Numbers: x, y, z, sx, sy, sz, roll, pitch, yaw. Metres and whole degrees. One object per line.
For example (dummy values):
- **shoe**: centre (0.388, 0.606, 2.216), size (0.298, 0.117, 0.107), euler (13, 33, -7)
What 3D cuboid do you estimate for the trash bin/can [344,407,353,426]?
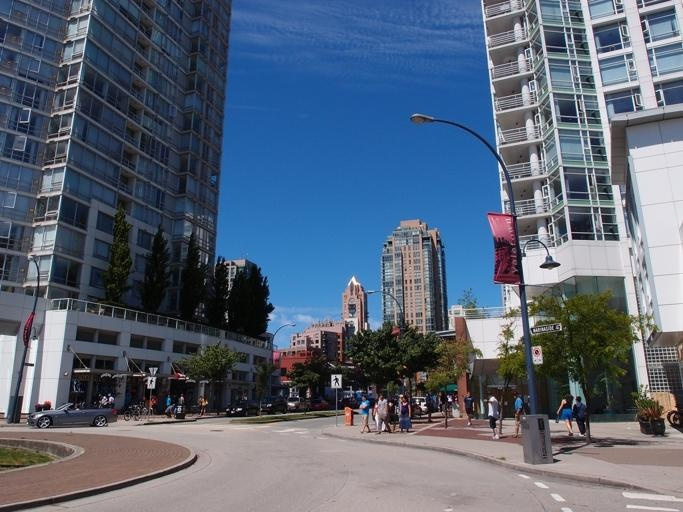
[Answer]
- **trash bin/can**: centre (0.521, 11.312, 36.525), size (0.516, 1.211, 1.487), euler (0, -16, -5)

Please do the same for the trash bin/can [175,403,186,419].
- **trash bin/can**: centre (-13.180, 12.663, 42.250), size (0.597, 1.111, 1.329), euler (5, -17, -22)

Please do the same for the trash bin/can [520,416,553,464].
- **trash bin/can**: centre (6.838, 6.435, 18.225), size (0.943, 1.657, 0.623), euler (-6, -16, 16)
